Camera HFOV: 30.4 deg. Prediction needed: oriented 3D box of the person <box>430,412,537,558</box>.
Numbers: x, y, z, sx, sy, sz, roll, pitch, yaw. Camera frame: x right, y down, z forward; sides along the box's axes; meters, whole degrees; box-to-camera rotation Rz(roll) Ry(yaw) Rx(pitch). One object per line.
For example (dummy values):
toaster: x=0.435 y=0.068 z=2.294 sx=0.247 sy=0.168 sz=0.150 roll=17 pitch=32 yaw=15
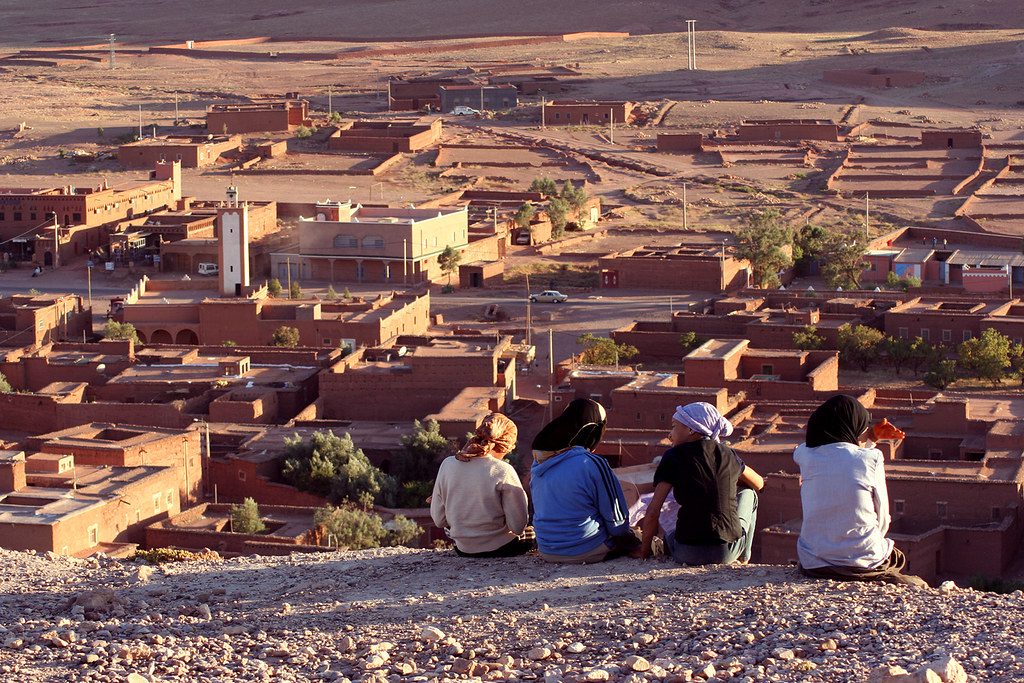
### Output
person: x=-0.331 y=1.597 z=21.007 sx=1.071 sy=1.647 sz=0.328 roll=2 pitch=10 yaw=12

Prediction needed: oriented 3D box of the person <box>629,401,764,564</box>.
person: x=2.083 y=1.546 z=20.447 sx=1.298 sy=1.739 sz=0.464 roll=1 pitch=10 yaw=3

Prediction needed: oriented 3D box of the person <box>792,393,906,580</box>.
person: x=3.594 y=1.570 z=20.112 sx=0.978 sy=1.908 sz=0.441 roll=1 pitch=10 yaw=3

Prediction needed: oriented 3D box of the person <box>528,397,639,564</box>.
person: x=0.798 y=1.534 z=20.685 sx=1.129 sy=1.786 sz=0.407 roll=0 pitch=10 yaw=-1
